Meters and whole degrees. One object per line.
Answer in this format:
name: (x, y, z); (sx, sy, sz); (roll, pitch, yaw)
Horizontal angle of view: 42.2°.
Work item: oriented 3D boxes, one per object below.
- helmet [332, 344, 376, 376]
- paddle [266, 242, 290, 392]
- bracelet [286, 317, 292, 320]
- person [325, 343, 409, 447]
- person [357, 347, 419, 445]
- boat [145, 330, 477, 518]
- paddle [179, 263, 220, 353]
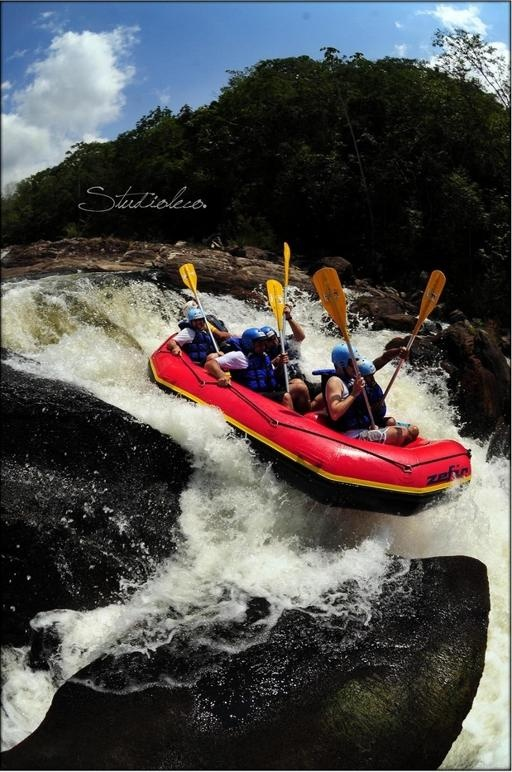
helmet: (0.756, -0.203, 5.151); (0.343, 0.161, 0.199); (15, 21, 15)
paddle: (0.247, -0.660, 6.428); (0.294, 1.460, 0.079); (5, -22, -16)
bracelet: (0.310, -0.627, 6.219); (0.042, 0.011, 0.039); (21, 13, -25)
person: (0.941, 0.079, 5.223); (0.846, 0.790, 0.695); (-7, 8, -10)
person: (1.015, 0.107, 5.301); (0.593, 0.785, 0.596); (-2, 6, 0)
boat: (0.307, 0.390, 5.174); (1.935, 0.363, 1.147); (30, 9, 29)
paddle: (-0.598, -0.778, 6.890); (0.160, 1.295, 0.054); (-23, -17, -12)
